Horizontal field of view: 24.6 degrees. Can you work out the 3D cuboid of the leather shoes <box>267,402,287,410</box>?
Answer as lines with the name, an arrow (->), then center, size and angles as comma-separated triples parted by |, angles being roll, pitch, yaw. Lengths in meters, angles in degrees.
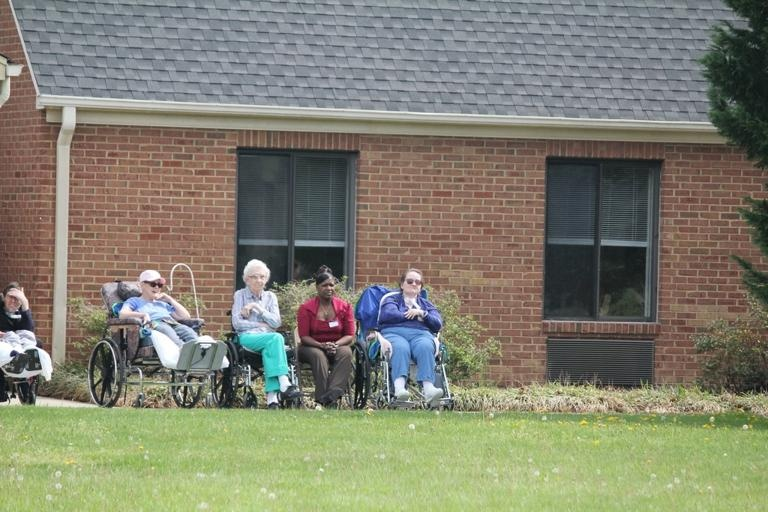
leather shoes -> -1.489, 2.066, 24.419 | 0.287, 0.136, 0.108 | -5, -4, 26

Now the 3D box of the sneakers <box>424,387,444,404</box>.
sneakers -> 0.713, 1.913, 24.424 | 0.128, 0.139, 0.306 | 3, -15, -24

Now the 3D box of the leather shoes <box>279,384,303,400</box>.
leather shoes -> -1.268, 1.865, 24.377 | 0.292, 0.208, 0.163 | 1, -4, -4

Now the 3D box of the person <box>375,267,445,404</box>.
person -> 0.417, 1.107, 24.840 | 0.798, 1.881, 0.898 | 1, -2, -2

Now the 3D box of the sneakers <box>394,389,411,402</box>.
sneakers -> 0.273, 1.922, 24.445 | 0.215, 0.166, 0.149 | 2, -4, -12

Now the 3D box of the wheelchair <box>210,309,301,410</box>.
wheelchair -> -1.939, 1.647, 24.882 | 0.868, 1.680, 1.470 | 5, 0, 11

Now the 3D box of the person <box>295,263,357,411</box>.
person -> -0.796, 1.164, 24.928 | 0.829, 2.021, 1.367 | 0, -1, -12

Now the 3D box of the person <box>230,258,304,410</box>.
person -> -1.625, 1.018, 24.796 | 0.812, 2.251, 0.930 | 3, -1, -6

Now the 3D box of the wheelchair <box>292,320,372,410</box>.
wheelchair -> -0.826, 1.540, 24.688 | 0.656, 1.126, 0.763 | 2, 1, 9
